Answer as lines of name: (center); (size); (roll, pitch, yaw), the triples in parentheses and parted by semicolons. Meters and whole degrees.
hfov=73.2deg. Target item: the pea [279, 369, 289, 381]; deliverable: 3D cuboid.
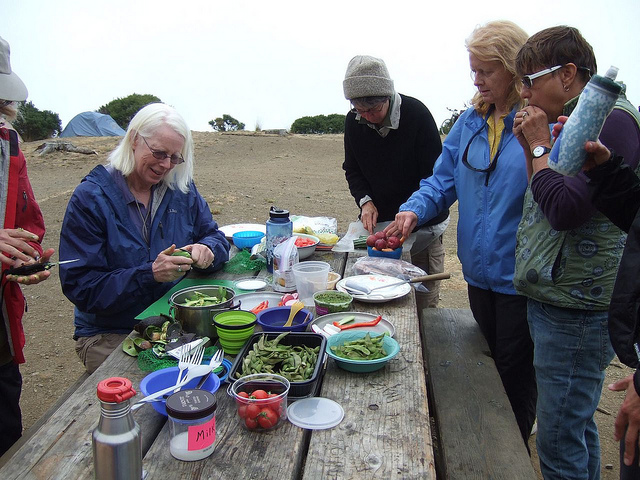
pea: (-0.180, 0.658, 2.135); (0.030, 0.040, 0.135); (-3, 15, -11)

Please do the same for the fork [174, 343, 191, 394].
fork: (-0.688, 0.631, 2.181); (0.031, 0.030, 0.274); (-6, 53, 22)

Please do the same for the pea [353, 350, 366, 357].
pea: (0.221, 0.625, 2.380); (0.063, 0.013, 0.019); (26, 45, 35)

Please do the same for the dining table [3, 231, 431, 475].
dining table: (-0.212, 0.457, 2.654); (1.826, 0.603, 2.366); (4, 16, 16)

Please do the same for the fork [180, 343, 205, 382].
fork: (-0.631, 0.618, 2.188); (0.030, 0.028, 0.245); (7, 58, 26)

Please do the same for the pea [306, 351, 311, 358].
pea: (-0.064, 0.603, 2.283); (0.010, 0.053, 0.015); (-11, 39, 7)

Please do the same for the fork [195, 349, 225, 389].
fork: (-0.561, 0.665, 2.229); (0.029, 0.027, 0.226); (-8, 33, 21)

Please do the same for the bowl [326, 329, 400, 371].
bowl: (0.233, 0.564, 2.402); (0.382, 0.428, 0.114); (-12, 51, 17)

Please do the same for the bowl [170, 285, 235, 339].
bowl: (-0.784, 0.458, 2.763); (0.388, 0.217, 0.322); (12, 13, -5)

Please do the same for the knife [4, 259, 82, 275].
knife: (-1.934, 0.186, 3.010); (0.286, 0.043, 0.074); (-15, -8, -6)

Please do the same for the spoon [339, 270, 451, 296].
spoon: (0.586, 0.351, 3.547); (0.684, 0.113, 0.208); (-8, 9, 6)

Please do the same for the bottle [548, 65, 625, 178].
bottle: (1.240, -0.533, 2.054); (0.129, 0.457, 0.282); (-3, 15, -11)

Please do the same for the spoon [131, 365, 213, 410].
spoon: (-0.696, 0.684, 2.068); (0.155, 0.104, 0.407); (11, 18, 35)

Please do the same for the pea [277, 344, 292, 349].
pea: (-0.198, 0.571, 2.324); (0.062, 0.022, 0.026); (5, 0, 6)

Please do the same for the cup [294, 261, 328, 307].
cup: (-0.064, 0.297, 3.151); (0.272, 0.307, 0.272); (-1, 8, 0)

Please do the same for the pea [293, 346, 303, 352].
pea: (-0.119, 0.592, 2.347); (0.055, 0.018, 0.038); (8, 17, 28)

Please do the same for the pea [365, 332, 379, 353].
pea: (0.293, 0.587, 2.442); (0.038, 0.026, 0.091); (-26, 25, 3)

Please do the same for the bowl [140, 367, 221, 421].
bowl: (-0.712, 0.702, 2.113); (0.261, 0.100, 0.275); (1, 17, 0)

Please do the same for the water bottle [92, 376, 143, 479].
water bottle: (-0.761, 0.724, 1.604); (0.176, 0.434, 0.133); (-9, 17, -29)

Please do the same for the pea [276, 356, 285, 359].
pea: (-0.202, 0.605, 2.219); (0.044, 0.006, 0.009); (-7, 16, -23)

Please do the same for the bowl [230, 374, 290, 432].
bowl: (-0.264, 0.732, 1.955); (0.224, 0.158, 0.229); (0, 8, 0)

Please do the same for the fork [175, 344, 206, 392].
fork: (-0.657, 0.647, 2.207); (0.033, 0.032, 0.258); (22, 41, 9)

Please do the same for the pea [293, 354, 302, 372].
pea: (-0.122, 0.626, 2.215); (0.038, 0.014, 0.059); (17, 41, -4)
